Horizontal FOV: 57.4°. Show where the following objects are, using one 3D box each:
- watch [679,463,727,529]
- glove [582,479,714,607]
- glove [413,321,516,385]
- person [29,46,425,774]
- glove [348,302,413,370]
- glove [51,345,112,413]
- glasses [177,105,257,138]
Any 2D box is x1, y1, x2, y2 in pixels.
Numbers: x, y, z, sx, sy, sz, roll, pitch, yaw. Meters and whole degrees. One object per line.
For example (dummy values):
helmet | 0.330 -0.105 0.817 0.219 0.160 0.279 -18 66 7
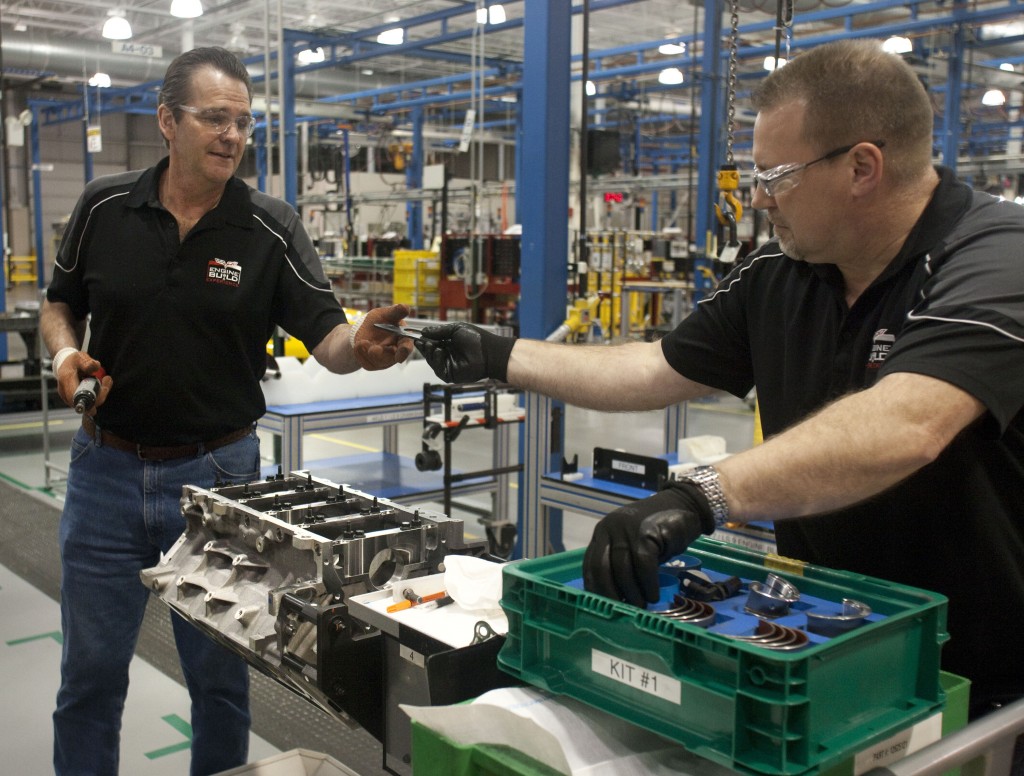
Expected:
watch | 0.312 0.184 1.495 0.054 0.093 0.090 -24 28 -16
glove | 0.210 0.243 1.451 0.208 0.183 0.094 -4 8 -29
glove | -0.109 -0.091 2.180 0.331 0.113 0.193 0 -4 23
person | -0.846 0.067 2.504 0.807 1.958 0.535 -3 8 -23
glove | -0.335 -0.132 2.416 0.152 0.169 0.145 -3 8 -18
glove | -1.057 -0.031 2.304 0.094 0.075 0.261 28 4 -29
glasses | -0.759 -0.690 2.405 0.182 0.075 0.076 -3 8 -19
